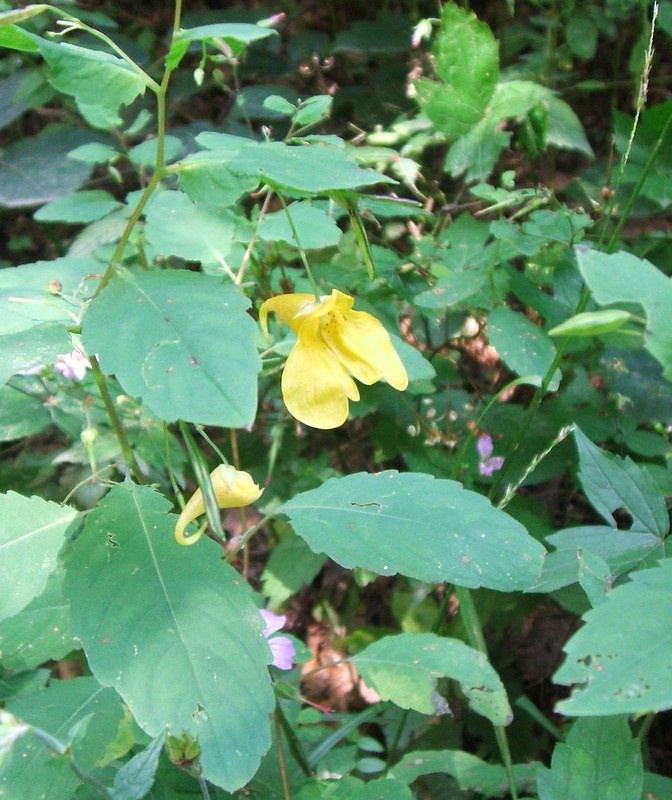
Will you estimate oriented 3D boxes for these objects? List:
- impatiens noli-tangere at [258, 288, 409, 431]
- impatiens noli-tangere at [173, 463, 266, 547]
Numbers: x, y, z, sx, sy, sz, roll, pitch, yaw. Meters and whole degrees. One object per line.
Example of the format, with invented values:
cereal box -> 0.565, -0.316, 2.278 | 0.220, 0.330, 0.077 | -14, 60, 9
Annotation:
impatiens noli-tangere -> 0.000, -0.083, 1.301 | 0.207, 0.188, 0.208 | -7, 34, -13
impatiens noli-tangere -> -0.184, 0.150, 1.204 | 0.073, 0.047, 0.169 | 46, 38, 5
